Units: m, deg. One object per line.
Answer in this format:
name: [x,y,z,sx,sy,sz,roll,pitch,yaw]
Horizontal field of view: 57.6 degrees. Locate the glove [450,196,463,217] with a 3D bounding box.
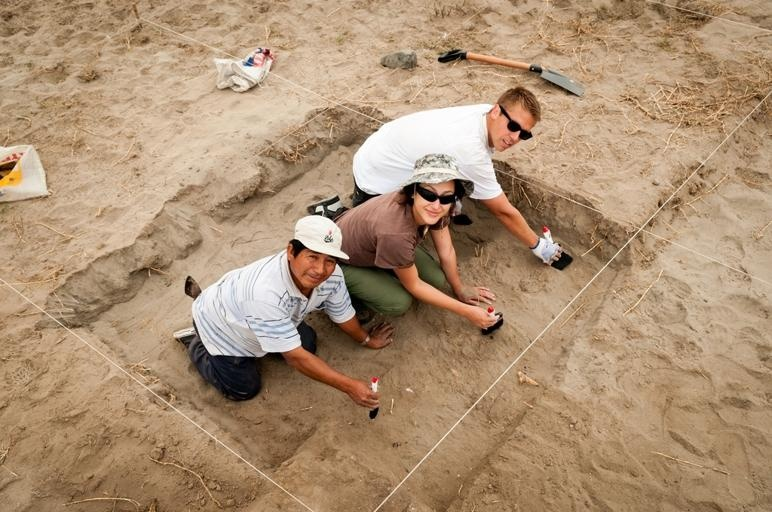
glove: [0.727,-0.477,7.093,0.152,0.216,0.092,-8,65,-8]

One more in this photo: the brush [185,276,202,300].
brush: [-1.993,0.339,7.261,0.122,0.093,0.220,-43,69,-9]

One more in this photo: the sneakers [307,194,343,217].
sneakers: [-0.668,-0.534,7.698,0.304,0.254,0.211,-27,98,11]

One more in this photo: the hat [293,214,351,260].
hat: [-0.578,-0.176,6.147,0.423,0.332,0.223,20,92,35]

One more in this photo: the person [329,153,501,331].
person: [0.284,-0.086,6.875,1.308,1.335,0.659,24,59,8]

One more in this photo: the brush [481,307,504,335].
brush: [1.041,0.650,6.898,0.118,0.197,0.206,35,98,38]

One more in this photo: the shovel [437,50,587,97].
shovel: [1.454,-2.312,8.594,1.999,0.222,0.657,16,48,31]

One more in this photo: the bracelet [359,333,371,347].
bracelet: [-0.191,0.855,7.066,0.125,0.094,0.124,7,93,54]

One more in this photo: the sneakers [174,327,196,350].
sneakers: [-1.985,0.836,7.130,0.249,0.109,0.199,26,91,36]
